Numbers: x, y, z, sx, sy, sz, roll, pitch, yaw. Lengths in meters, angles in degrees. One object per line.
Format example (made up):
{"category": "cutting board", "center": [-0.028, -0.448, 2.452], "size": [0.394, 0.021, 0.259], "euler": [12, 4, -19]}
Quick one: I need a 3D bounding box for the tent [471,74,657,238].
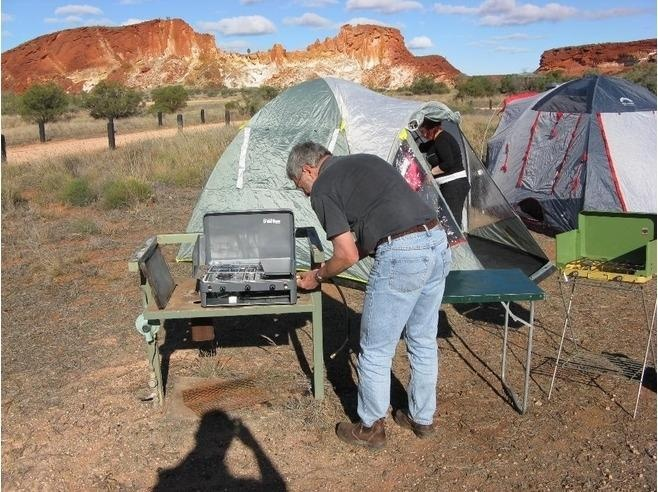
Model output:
{"category": "tent", "center": [3.791, -1.264, 8.075], "size": [2.344, 1.282, 3.026], "euler": [-14, 28, -13]}

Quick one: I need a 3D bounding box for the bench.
{"category": "bench", "center": [-0.860, 0.566, 4.342], "size": [1.474, 1.182, 1.197], "euler": [-1, 11, -15]}

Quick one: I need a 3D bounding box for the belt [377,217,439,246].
{"category": "belt", "center": [0.557, -0.097, 3.413], "size": [0.235, 0.058, 0.226], "euler": [-28, -4, 22]}
